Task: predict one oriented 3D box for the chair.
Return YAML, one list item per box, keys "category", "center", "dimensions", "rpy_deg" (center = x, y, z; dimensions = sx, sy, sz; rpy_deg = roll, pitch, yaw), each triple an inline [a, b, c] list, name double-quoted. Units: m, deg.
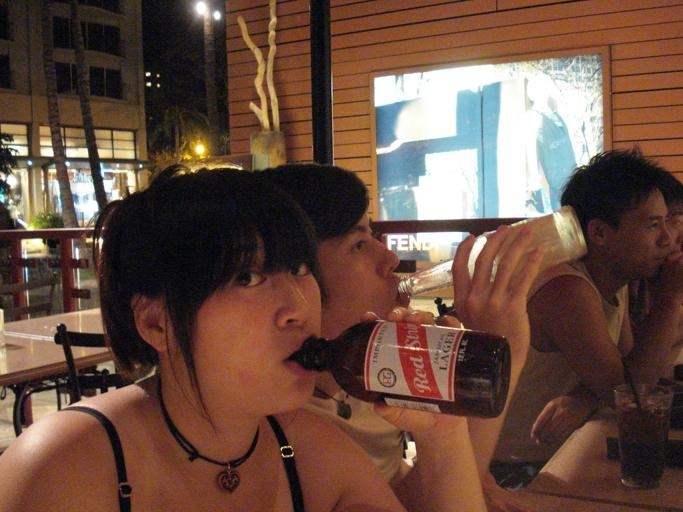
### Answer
- category: "chair"
  center: [-1.317, 0.589, 2.934]
  dimensions: [0.475, 0.604, 0.499]
  rpy_deg: [-2, 8, -1]
